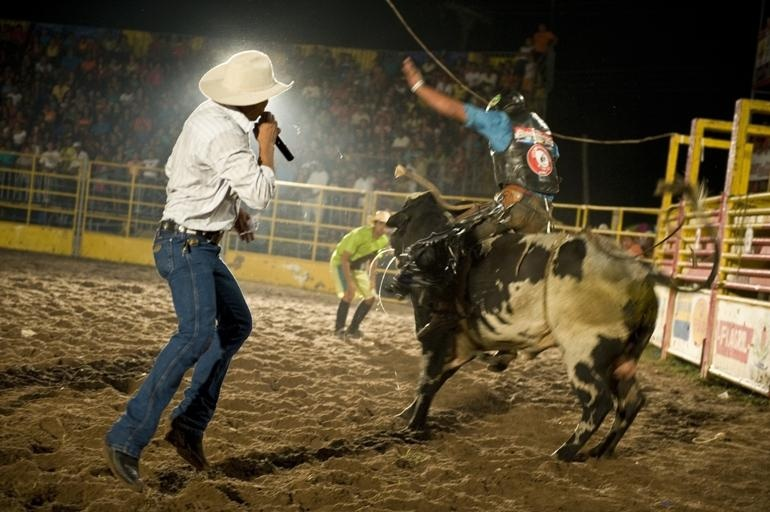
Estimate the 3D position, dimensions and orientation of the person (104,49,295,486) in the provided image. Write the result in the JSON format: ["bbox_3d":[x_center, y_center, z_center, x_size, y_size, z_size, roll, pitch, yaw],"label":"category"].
[{"bbox_3d":[-1.704,0.045,5.691,1.311,3.963,0.815,3,6,-23],"label":"person"}]

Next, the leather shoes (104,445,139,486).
[{"bbox_3d":[-2.315,1.846,5.452,0.164,0.359,0.128,-35,7,11],"label":"leather shoes"}]

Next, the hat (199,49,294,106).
[{"bbox_3d":[-1.266,-1.585,5.688,0.704,0.247,0.608,-35,61,-28],"label":"hat"}]

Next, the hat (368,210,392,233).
[{"bbox_3d":[-0.104,-0.520,9.603,0.394,0.133,0.359,32,6,-5],"label":"hat"}]

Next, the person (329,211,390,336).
[{"bbox_3d":[-0.449,0.236,9.878,0.833,1.938,0.988,5,5,-9],"label":"person"}]
